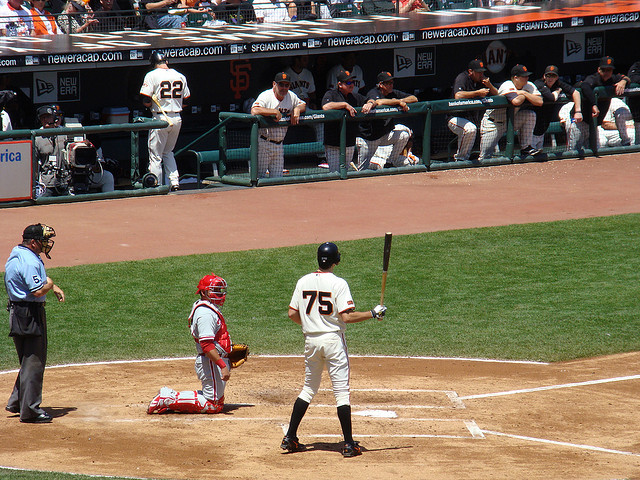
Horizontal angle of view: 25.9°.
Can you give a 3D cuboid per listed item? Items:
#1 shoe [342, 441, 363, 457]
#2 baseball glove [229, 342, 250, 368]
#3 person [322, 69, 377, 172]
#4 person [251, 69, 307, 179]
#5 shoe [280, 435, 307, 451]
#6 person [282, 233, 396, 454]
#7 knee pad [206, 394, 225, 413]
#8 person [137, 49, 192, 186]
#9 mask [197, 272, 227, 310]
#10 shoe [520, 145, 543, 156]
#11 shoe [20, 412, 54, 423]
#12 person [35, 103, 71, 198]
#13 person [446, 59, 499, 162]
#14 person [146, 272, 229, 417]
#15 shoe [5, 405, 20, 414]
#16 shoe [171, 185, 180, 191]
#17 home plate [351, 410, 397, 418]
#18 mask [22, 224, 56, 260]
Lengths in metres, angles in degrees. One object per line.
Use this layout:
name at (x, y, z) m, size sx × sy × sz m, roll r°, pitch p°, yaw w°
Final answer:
shoe at (0.366, 2.377, 15.933) m, size 0.107 × 0.112 × 0.269 m, roll 1°, pitch 3°, yaw 27°
baseball glove at (-1.004, 1.397, 16.976) m, size 0.228 × 0.309 × 0.236 m, roll -3°, pitch 11°, yaw -5°
person at (0.464, -2.088, 24.754) m, size 0.877 × 1.787 × 0.666 m, roll -2°, pitch 12°, yaw 1°
person at (-0.757, -1.987, 24.259) m, size 0.946 × 1.837 × 0.718 m, roll -4°, pitch 12°, yaw -7°
shoe at (-0.332, 2.316, 16.060) m, size 0.295 × 0.128 × 0.125 m, roll 2°, pitch 3°, yaw -28°
person at (0.049, 1.241, 16.078) m, size 1.067 × 2.390 × 0.824 m, roll -2°, pitch 12°, yaw 1°
knee pad at (-1.243, 1.978, 16.888) m, size 0.228 × 0.187 × 0.175 m, roll 2°, pitch -2°, yaw 38°
person at (-2.653, -2.082, 23.822) m, size 0.773 × 2.343 × 0.768 m, roll -4°, pitch 12°, yaw -5°
mask at (-1.299, 0.568, 16.716) m, size 0.422 × 0.349 × 0.369 m, roll 8°, pitch 4°, yaw 35°
shoe at (3.965, -1.698, 26.294) m, size 0.454 × 0.183 × 0.154 m, roll -4°, pitch 6°, yaw 8°
shoe at (-3.408, 2.107, 16.591) m, size 0.315 × 0.118 × 0.137 m, roll -3°, pitch 6°, yaw -3°
person at (-4.450, -1.439, 22.922) m, size 0.554 × 1.510 × 0.721 m, roll -5°, pitch 12°, yaw -10°
person at (2.759, -2.351, 25.503) m, size 0.915 × 1.866 × 0.727 m, roll -1°, pitch 12°, yaw 6°
person at (-1.563, 1.232, 16.909) m, size 0.886 × 1.677 × 0.985 m, roll -3°, pitch 11°, yaw -4°
shoe at (-3.713, 2.017, 16.809) m, size 0.195 × 0.074 × 0.063 m, roll 20°, pitch 19°, yaw -6°
shoe at (-2.557, -0.926, 24.278) m, size 0.099 × 0.053 × 0.126 m, roll 0°, pitch -11°, yaw 0°
home plate at (0.660, 2.099, 17.012) m, size 0.542 × 0.046 × 0.204 m, roll -2°, pitch 10°, yaw 2°
mask at (-3.388, -0.027, 16.785) m, size 0.451 × 0.400 × 0.450 m, roll 11°, pitch 12°, yaw 38°
